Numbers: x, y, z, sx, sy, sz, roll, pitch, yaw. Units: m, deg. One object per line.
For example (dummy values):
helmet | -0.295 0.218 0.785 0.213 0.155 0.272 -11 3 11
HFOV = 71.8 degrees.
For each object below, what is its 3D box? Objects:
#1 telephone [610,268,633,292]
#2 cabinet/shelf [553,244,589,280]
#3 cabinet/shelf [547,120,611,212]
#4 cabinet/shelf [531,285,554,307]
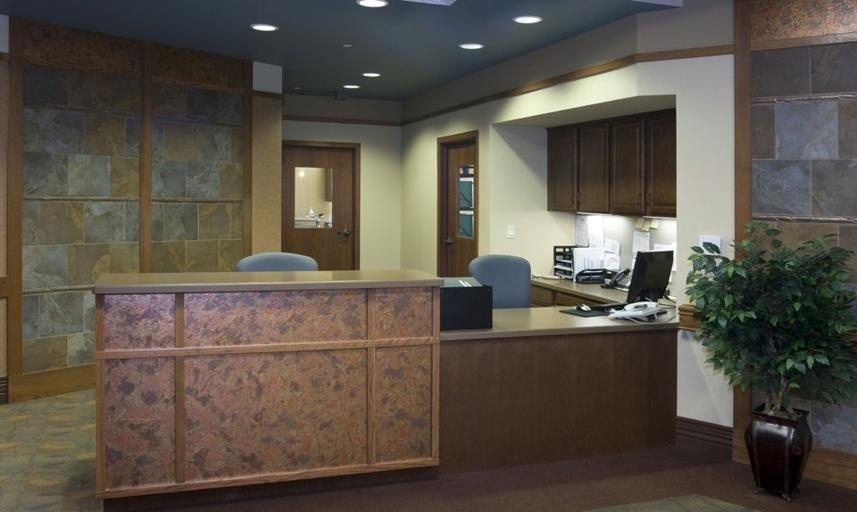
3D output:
telephone | 2.039 0.246 6.396 0.268 0.148 0.239 -4 5 -40
cabinet/shelf | 1.584 0.076 6.827 0.188 0.371 0.475 -1 3 -26
cabinet/shelf | 1.699 -1.023 6.663 0.421 0.909 1.045 -3 5 -32
cabinet/shelf | 1.252 0.457 6.612 0.207 0.215 0.381 -1 2 -24
